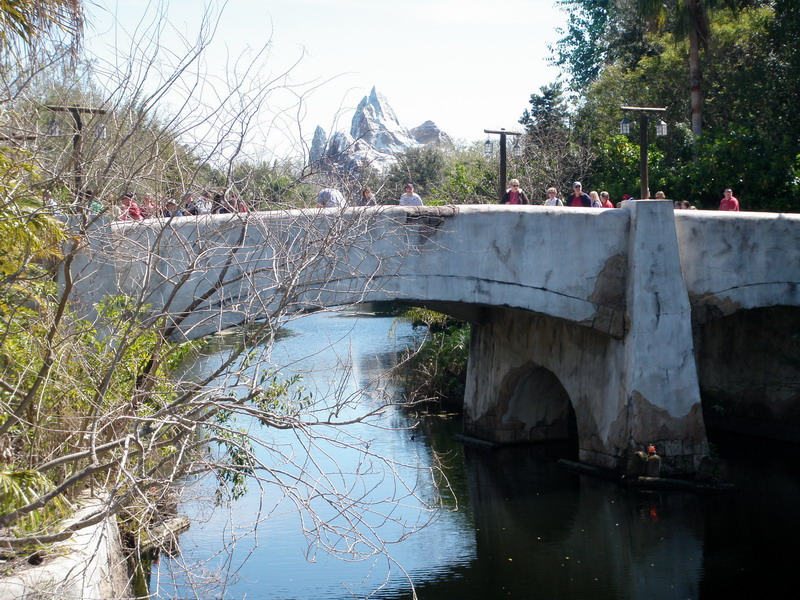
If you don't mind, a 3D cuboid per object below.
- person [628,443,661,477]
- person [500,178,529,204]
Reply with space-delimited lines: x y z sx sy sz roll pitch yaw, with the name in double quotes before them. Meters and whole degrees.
"person" 5.018 3.245 17.725 0.369 0.770 0.507 -6 11 -26
"person" 2.603 -2.395 19.460 0.476 0.567 0.722 2 -8 -6
